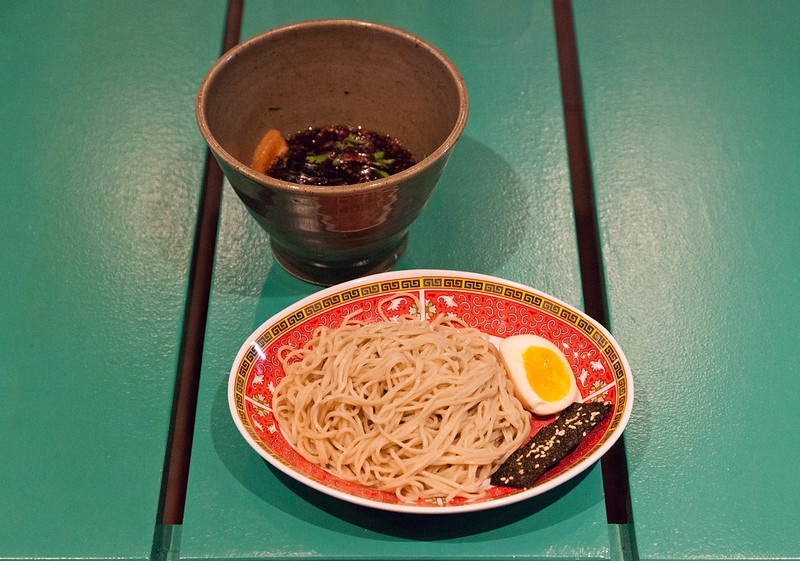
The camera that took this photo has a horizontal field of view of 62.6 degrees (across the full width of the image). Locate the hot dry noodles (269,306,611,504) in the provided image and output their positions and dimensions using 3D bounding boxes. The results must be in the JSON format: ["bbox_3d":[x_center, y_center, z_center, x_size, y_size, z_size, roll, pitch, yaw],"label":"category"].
[{"bbox_3d":[-0.014,0.387,1.758,0.592,0.100,0.410,1,61,-1],"label":"hot dry noodles"}]
